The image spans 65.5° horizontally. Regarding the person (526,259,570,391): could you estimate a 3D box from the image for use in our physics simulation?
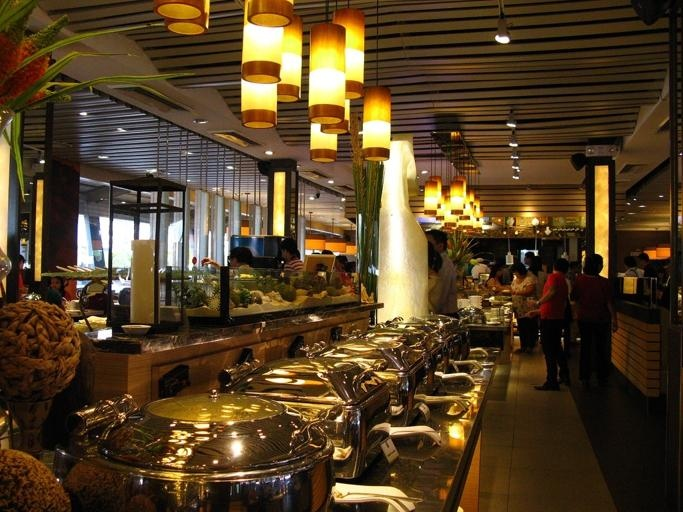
[{"bbox_3d":[3.072,0.931,7.723,0.411,1.796,1.338,1,-1,23],"label":"person"}]

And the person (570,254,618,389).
[{"bbox_3d":[3.709,0.930,7.855,0.551,1.898,1.277,1,-1,25],"label":"person"}]

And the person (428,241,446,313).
[{"bbox_3d":[0.904,0.215,5.152,0.134,0.680,0.343,1,-1,12],"label":"person"}]
